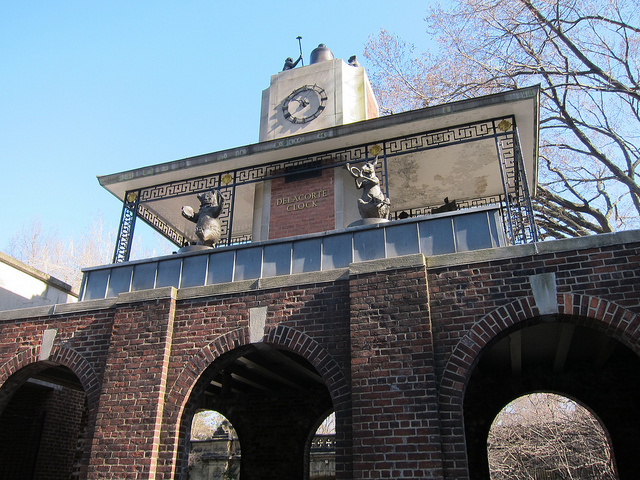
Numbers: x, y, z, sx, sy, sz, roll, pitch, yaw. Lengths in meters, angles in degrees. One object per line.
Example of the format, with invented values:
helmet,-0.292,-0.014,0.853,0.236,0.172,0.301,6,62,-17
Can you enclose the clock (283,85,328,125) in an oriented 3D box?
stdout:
clock,-0.483,-3.858,14.600,1.259,1.257,0.164,11,1,24

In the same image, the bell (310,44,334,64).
bell,0.036,-5.538,15.528,0.631,1.180,0.456,0,-34,1

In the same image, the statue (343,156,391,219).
statue,0.970,-1.059,11.054,0.929,1.634,0.797,-1,-18,-5

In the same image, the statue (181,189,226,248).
statue,-2.729,-0.476,12.044,1.021,1.620,0.580,-3,-29,8
